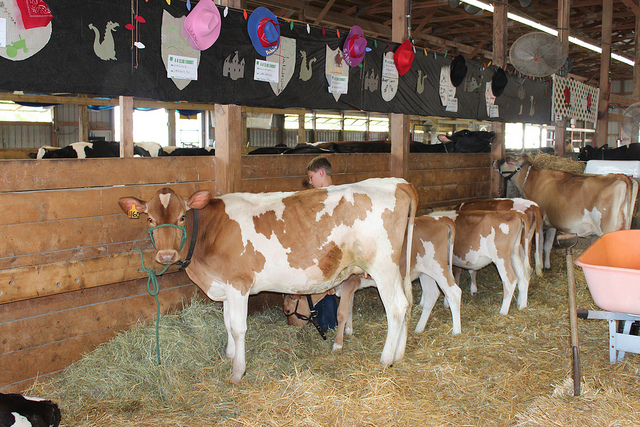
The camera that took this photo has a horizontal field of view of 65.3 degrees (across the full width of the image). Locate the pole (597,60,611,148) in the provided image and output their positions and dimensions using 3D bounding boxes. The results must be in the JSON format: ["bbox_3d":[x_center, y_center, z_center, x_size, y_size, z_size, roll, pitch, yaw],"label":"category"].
[{"bbox_3d":[7.108,-2.887,12.590,0.236,2.672,0.250,19,-16,-33],"label":"pole"}]

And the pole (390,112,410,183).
[{"bbox_3d":[1.221,-0.987,7.624,0.298,1.013,0.459,2,14,8],"label":"pole"}]

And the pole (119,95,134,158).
[{"bbox_3d":[-2.044,-0.910,5.265,0.157,0.639,0.195,-5,14,-21],"label":"pole"}]

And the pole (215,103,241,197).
[{"bbox_3d":[-1.031,-0.767,5.923,0.213,1.071,0.210,7,-17,-44],"label":"pole"}]

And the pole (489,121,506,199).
[{"bbox_3d":[3.354,-1.002,9.617,0.187,1.697,0.227,7,-12,4],"label":"pole"}]

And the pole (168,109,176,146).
[{"bbox_3d":[-4.925,-2.800,16.514,0.315,1.101,0.172,-7,15,-26],"label":"pole"}]

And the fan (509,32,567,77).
[{"bbox_3d":[3.988,-2.908,9.209,1.024,0.771,0.322,-2,14,-7],"label":"fan"}]

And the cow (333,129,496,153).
[{"bbox_3d":[1.861,-1.241,9.021,1.849,0.447,1.176,0,3,-11],"label":"cow"}]
